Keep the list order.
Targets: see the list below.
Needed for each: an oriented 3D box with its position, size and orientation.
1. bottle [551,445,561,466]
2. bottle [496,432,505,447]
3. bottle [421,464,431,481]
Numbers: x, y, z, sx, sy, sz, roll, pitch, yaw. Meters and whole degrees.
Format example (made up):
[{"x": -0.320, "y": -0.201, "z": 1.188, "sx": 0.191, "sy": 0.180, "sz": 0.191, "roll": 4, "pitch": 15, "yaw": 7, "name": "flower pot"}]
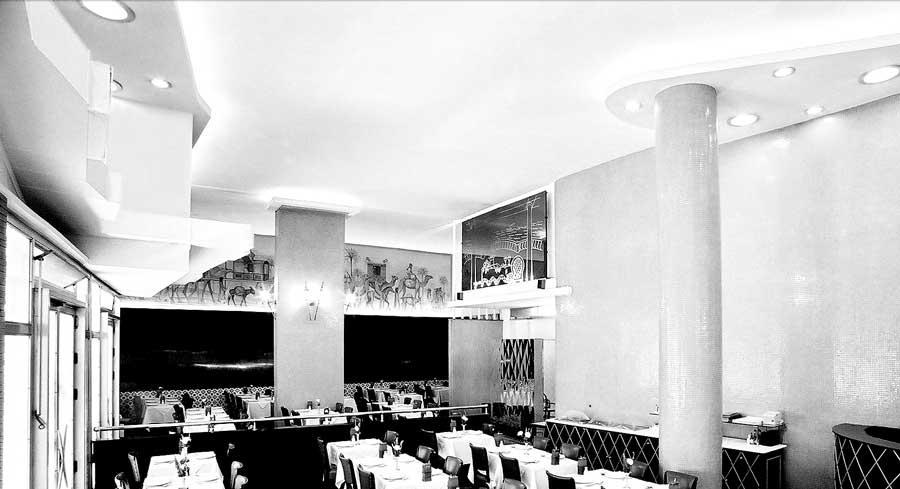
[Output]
[{"x": 1.777, "y": 3.523, "z": 10.437, "sx": 0.158, "sy": 0.234, "sz": 0.387, "roll": -2, "pitch": -15, "yaw": 10, "name": "bottle"}, {"x": 0.930, "y": 3.549, "z": 11.432, "sx": 0.141, "sy": 0.236, "sz": 0.391, "roll": -1, "pitch": -15, "yaw": 9, "name": "bottle"}, {"x": -0.340, "y": 3.630, "z": 9.963, "sx": 0.175, "sy": 0.243, "sz": 0.151, "roll": 6, "pitch": -15, "yaw": -16, "name": "bottle"}]
